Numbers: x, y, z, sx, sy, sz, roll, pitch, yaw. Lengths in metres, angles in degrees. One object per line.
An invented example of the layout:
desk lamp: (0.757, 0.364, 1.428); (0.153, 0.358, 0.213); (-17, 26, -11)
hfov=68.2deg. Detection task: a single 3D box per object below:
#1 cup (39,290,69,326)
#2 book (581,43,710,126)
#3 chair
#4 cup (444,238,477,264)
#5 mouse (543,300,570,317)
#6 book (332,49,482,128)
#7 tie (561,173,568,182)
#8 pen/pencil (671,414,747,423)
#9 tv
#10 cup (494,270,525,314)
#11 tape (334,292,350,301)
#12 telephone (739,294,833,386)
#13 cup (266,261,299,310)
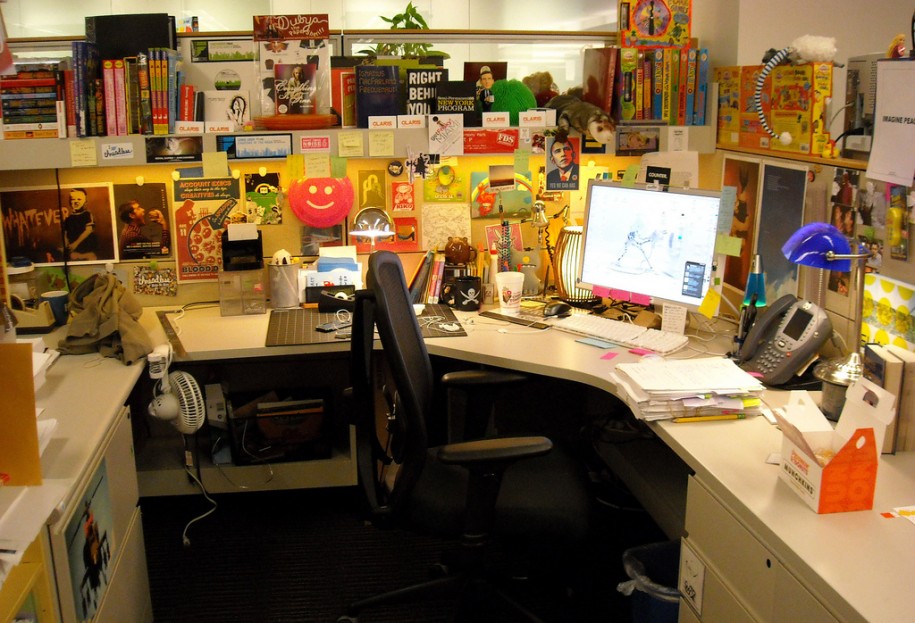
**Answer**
cup: (-1.803, -0.024, 3.041); (0.164, 0.155, 0.109); (19, 22, 39)
book: (0.902, -1.072, 3.234); (0.595, 0.360, 0.201); (1, 17, 10)
chair: (-0.028, 0.298, 2.998); (1.198, 1.786, 1.238); (-2, 22, 0)
cup: (0.002, -0.291, 3.333); (0.107, 0.118, 0.142); (-5, -24, 4)
mouse: (0.449, -0.012, 3.072); (0.063, 0.038, 0.108); (2, 6, 33)
book: (-0.250, -1.046, 3.188); (0.508, 0.198, 0.374); (-1, 25, -10)
tie: (0.521, -0.648, 3.308); (0.039, 0.037, 0.009); (4, 2, -7)
pen/pencil: (0.799, 0.345, 2.179); (0.192, 0.021, 0.022); (-2, 4, 0)
tv: (0.847, -0.237, 2.848); (0.590, 0.447, 0.048); (15, 23, 42)
cup: (0.236, -0.094, 3.083); (0.163, 0.180, 0.165); (-1, 4, 0)
tape: (-0.529, -0.069, 3.121); (0.050, 0.019, 0.036); (4, 9, 1)
telephone: (1.146, 0.108, 2.394); (0.347, 0.125, 0.267); (-46, 28, 1)
cup: (-0.815, -0.112, 3.195); (0.193, 0.205, 0.165); (0, 8, -5)
